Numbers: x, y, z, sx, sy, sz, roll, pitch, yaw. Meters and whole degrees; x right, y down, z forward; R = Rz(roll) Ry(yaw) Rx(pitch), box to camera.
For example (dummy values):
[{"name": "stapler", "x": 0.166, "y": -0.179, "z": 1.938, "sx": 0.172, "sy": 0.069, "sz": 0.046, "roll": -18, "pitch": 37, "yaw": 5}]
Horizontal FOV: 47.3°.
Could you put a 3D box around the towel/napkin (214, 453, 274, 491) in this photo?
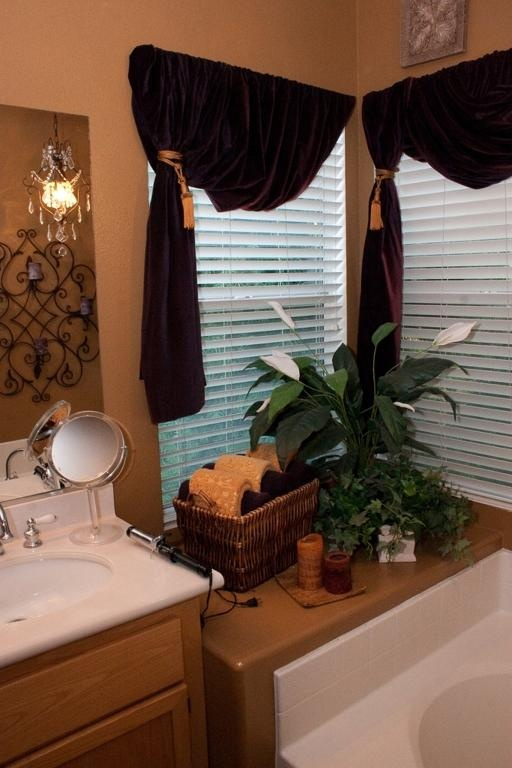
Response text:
[{"name": "towel/napkin", "x": -0.043, "y": 0.245, "z": 1.788, "sx": 0.131, "sy": 0.085, "sz": 0.100, "roll": 1, "pitch": 8, "yaw": 44}]

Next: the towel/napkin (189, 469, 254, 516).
[{"name": "towel/napkin", "x": -0.113, "y": 0.313, "z": 1.678, "sx": 0.103, "sy": 0.089, "sz": 0.190, "roll": -16, "pitch": 19, "yaw": -43}]

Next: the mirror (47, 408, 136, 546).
[{"name": "mirror", "x": -0.413, "y": 0.235, "z": 1.463, "sx": 0.174, "sy": 0.339, "sz": 0.239, "roll": -14, "pitch": 18, "yaw": -38}]

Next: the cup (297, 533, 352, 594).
[{"name": "cup", "x": 0.217, "y": 0.505, "z": 1.655, "sx": 0.179, "sy": 0.178, "sz": 0.105, "roll": -1, "pitch": 1, "yaw": 11}]

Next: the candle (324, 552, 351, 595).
[{"name": "candle", "x": 0.224, "y": 0.525, "z": 1.611, "sx": 0.092, "sy": 0.103, "sz": 0.090, "roll": -3, "pitch": 2, "yaw": 4}]

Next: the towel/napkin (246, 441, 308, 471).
[{"name": "towel/napkin", "x": 0.046, "y": 0.243, "z": 1.940, "sx": 0.089, "sy": 0.037, "sz": 0.116, "roll": -13, "pitch": 22, "yaw": -42}]

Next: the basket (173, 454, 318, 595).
[{"name": "basket", "x": -0.020, "y": 0.396, "z": 1.790, "sx": 0.288, "sy": 0.251, "sz": 0.407, "roll": 5, "pitch": 8, "yaw": 37}]

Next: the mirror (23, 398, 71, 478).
[{"name": "mirror", "x": -0.530, "y": 0.138, "z": 1.499, "sx": 0.033, "sy": 0.164, "sz": 0.164, "roll": 11, "pitch": -5, "yaw": 25}]
